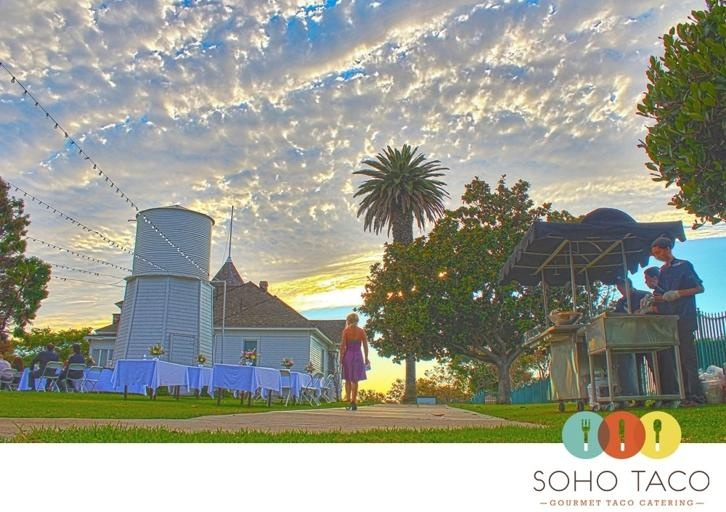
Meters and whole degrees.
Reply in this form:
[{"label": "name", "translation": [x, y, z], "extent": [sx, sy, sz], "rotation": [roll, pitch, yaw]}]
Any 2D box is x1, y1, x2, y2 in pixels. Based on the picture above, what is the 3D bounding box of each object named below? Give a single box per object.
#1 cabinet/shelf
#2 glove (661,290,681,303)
[{"label": "cabinet/shelf", "translation": [5.254, 2.290, 10.746], "extent": [2.022, 1.763, 2.692], "rotation": [2, -19, -6]}, {"label": "glove", "translation": [6.471, 0.805, 10.465], "extent": [0.315, 0.226, 0.268], "rotation": [-12, -22, 31]}]
